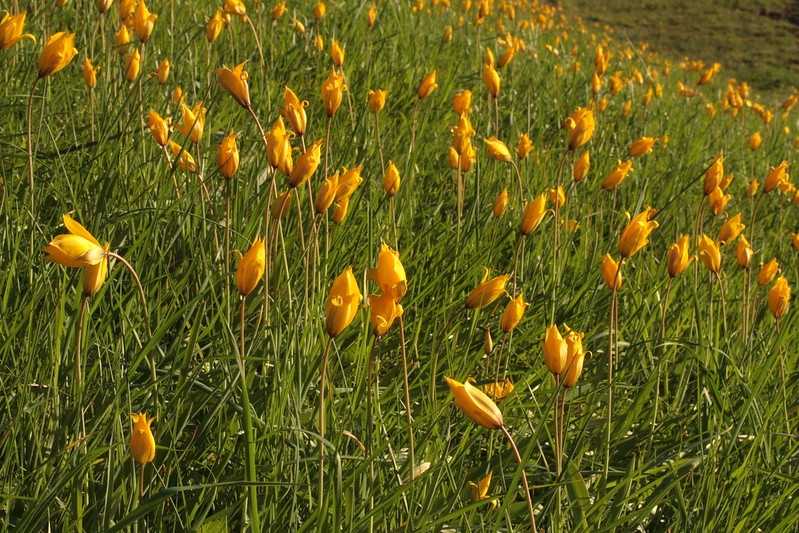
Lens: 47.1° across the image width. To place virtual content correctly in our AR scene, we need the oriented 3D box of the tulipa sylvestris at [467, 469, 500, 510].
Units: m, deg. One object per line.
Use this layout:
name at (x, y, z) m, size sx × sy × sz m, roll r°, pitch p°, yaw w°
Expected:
tulipa sylvestris at (0.292, 0.806, 3.297) m, size 0.069 × 0.107 × 0.100 m, roll 6°, pitch 46°, yaw 13°

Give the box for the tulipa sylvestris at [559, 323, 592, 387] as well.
tulipa sylvestris at (0.597, 0.324, 3.267) m, size 0.119 × 0.211 × 0.148 m, roll 13°, pitch -15°, yaw 12°
